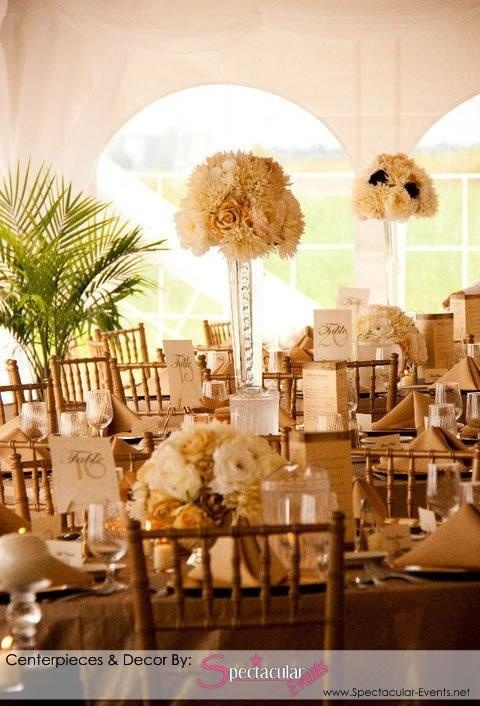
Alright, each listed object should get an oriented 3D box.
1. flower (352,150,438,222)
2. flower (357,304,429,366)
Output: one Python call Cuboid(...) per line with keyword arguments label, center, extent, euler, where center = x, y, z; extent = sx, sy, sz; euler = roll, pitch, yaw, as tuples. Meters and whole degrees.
Cuboid(label="flower", center=(0.828, -0.882, 3.438), extent=(0.388, 0.216, 0.395), euler=(0, 21, -9))
Cuboid(label="flower", center=(0.762, -0.116, 3.511), extent=(0.390, 0.198, 0.345), euler=(3, -17, 14))
